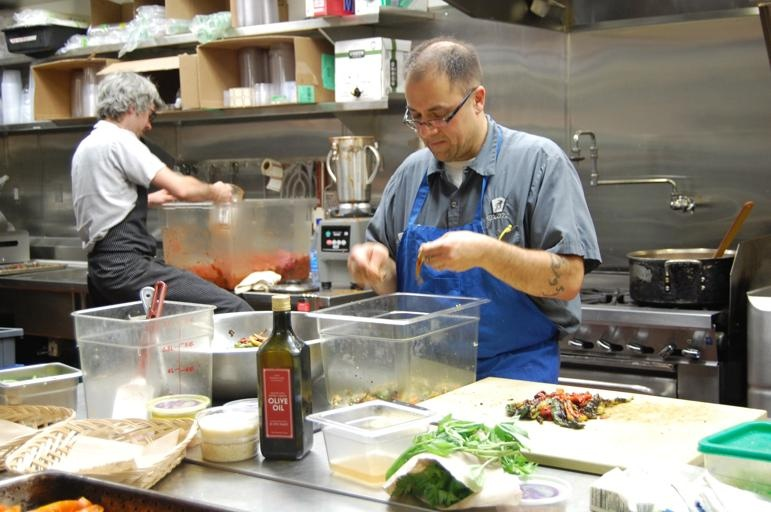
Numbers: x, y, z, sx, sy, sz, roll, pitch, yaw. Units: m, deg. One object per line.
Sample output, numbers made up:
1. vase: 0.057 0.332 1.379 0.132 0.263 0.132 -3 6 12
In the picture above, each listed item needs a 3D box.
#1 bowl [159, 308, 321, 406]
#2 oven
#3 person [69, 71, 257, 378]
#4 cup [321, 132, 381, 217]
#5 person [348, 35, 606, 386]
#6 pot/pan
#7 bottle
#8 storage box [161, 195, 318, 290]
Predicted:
1. bowl: -0.381 0.268 1.617 0.326 0.129 0.348 -1 2 0
2. oven: 1.153 0.454 2.781 0.535 0.460 0.345 -1 -4 31
3. person: -1.259 -0.342 3.368 0.643 1.300 0.875 -6 8 -44
4. cup: -0.157 -0.436 3.518 0.422 0.384 0.253 0 4 26
5. person: 0.269 -0.144 2.021 0.805 1.115 0.570 2 6 18
6. pot/pan: 1.356 0.092 2.900 0.428 0.169 0.492 -2 6 14
7. bottle: -0.228 0.293 1.424 0.122 0.356 0.075 -1 6 -10
8. storage box: -0.985 -0.049 3.959 0.865 0.544 1.164 0 -1 -29
